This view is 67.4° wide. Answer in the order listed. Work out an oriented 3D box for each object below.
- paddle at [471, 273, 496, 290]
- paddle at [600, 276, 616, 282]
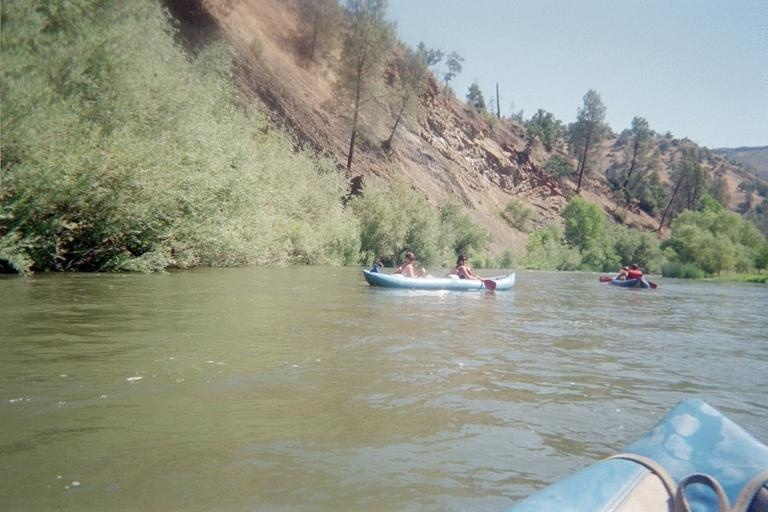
[{"bbox_3d":[3.789,0.951,22.483,0.128,0.372,1.176,6,15,-41],"label":"paddle"},{"bbox_3d":[13.097,1.396,33.750,0.828,0.335,0.591,-5,1,-1],"label":"paddle"}]
